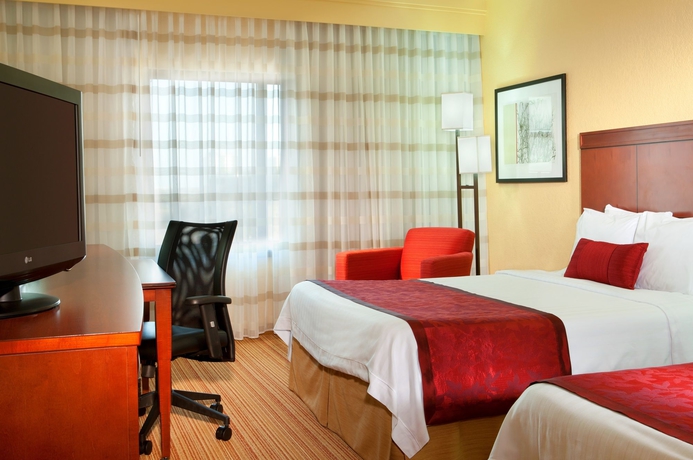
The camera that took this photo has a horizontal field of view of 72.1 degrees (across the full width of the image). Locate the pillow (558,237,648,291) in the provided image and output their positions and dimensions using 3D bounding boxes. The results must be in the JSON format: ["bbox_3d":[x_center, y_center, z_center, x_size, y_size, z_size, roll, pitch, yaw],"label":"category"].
[{"bbox_3d":[2.017,0.249,3.685,0.292,0.287,0.690,-25,8,-24],"label":"pillow"}]
